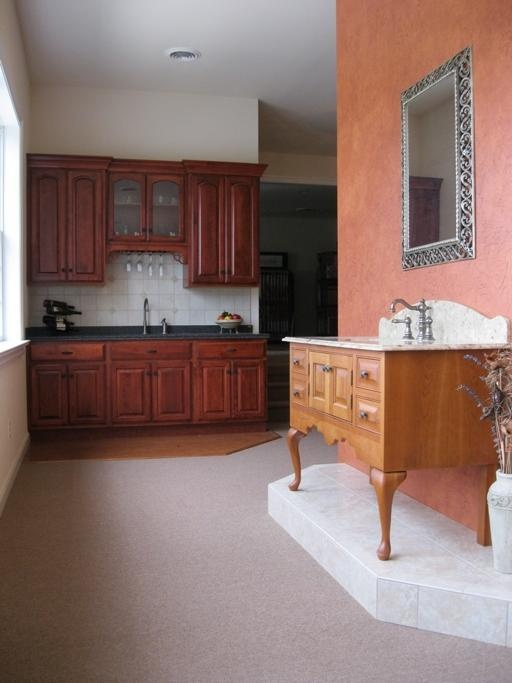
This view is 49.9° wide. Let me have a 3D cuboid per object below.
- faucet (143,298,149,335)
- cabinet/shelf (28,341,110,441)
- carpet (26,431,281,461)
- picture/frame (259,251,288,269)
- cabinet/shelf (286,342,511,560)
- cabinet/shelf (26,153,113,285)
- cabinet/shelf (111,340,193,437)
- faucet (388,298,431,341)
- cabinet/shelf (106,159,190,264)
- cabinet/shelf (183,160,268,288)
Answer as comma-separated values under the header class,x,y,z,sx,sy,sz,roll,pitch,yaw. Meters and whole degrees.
class,x,y,z,sx,sy,sz,roll,pitch,yaw
faucet,-1.088,-0.253,5.444,0.051,0.348,0.144,0,0,-2
cabinet/shelf,-1.650,0.372,4.887,0.650,0.812,0.381,0,2,-15
carpet,-0.868,0.852,4.597,2.056,0.110,0.861,0,0,-12
picture/frame,0.353,-1.555,10.677,0.523,0.306,0.349,0,4,-1
cabinet/shelf,0.513,0.370,2.364,0.491,0.737,1.002,1,1,-17
cabinet/shelf,-1.754,-1.132,5.060,0.672,1.156,0.345,-6,35,-26
cabinet/shelf,-0.959,0.286,5.047,0.741,0.896,0.440,0,25,-10
faucet,0.690,-0.096,2.455,0.187,0.227,0.189,2,-3,-25
cabinet/shelf,-1.032,-1.141,5.234,0.709,0.923,0.341,-2,-19,-7
cabinet/shelf,-0.291,-1.129,5.360,0.743,1.173,0.347,1,26,-1
